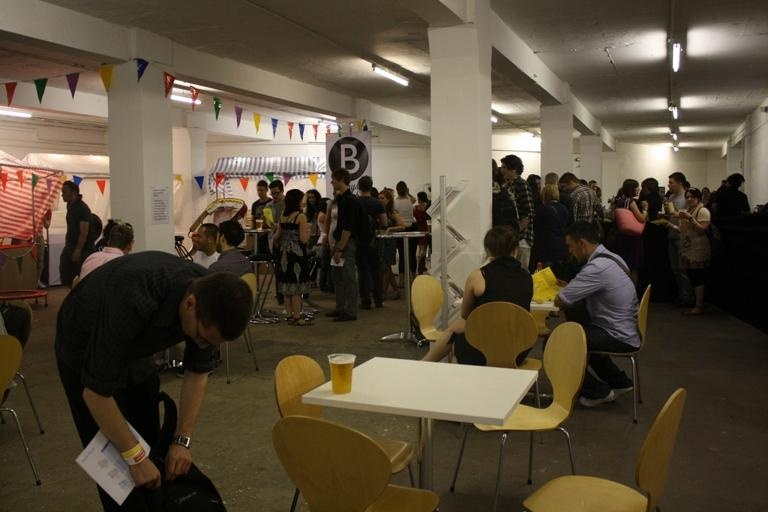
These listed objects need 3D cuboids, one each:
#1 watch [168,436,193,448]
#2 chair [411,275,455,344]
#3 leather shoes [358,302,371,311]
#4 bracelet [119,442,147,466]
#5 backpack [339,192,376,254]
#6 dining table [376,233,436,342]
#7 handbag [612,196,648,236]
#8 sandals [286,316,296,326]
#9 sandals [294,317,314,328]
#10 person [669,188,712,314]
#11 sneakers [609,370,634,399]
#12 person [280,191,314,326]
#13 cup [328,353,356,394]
[{"bbox_3d":[-0.993,0.889,2.511,0.062,0.045,0.061,-4,-31,38],"label":"watch"},{"bbox_3d":[0.463,0.536,5.027,0.420,0.672,0.485,-1,0,3],"label":"chair"},{"bbox_3d":[-0.348,0.818,8.618,0.243,0.180,0.085,7,8,36],"label":"leather shoes"},{"bbox_3d":[-1.132,0.891,2.338,0.097,0.071,0.098,-32,7,-31],"label":"bracelet"},{"bbox_3d":[-0.348,-0.615,7.625,0.447,0.629,0.345,-1,18,34],"label":"backpack"},{"bbox_3d":[0.260,0.401,6.806,1.026,1.348,1.062,-7,1,-8],"label":"dining table"},{"bbox_3d":[3.879,-0.611,8.266,0.473,0.654,0.270,3,-10,-24],"label":"handbag"},{"bbox_3d":[-1.353,0.925,7.505,0.125,0.077,0.276,1,-1,-9],"label":"sandals"},{"bbox_3d":[-1.171,0.943,7.503,0.209,0.072,0.123,0,7,8],"label":"sandals"},{"bbox_3d":[4.730,-0.076,8.037,0.502,1.885,0.883,4,6,29],"label":"person"},{"bbox_3d":[2.260,1.191,4.995,0.128,0.285,0.396,1,12,31],"label":"sneakers"},{"bbox_3d":[-1.283,0.026,7.350,0.448,1.905,0.611,0,6,-12],"label":"person"},{"bbox_3d":[-0.255,0.650,2.920,0.183,0.208,0.184,-1,-5,0],"label":"cup"}]
